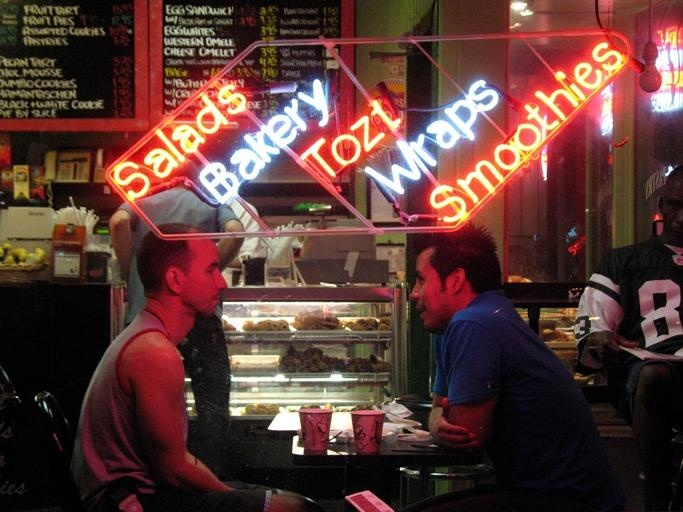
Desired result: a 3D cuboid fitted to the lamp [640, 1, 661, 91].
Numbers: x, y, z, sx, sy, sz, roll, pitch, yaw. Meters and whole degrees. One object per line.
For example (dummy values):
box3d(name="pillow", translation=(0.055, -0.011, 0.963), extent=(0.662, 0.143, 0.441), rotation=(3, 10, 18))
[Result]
box3d(name="lamp", translation=(1.259, -0.869, 3.066), extent=(0.083, 0.404, 0.218), rotation=(-3, -6, 24))

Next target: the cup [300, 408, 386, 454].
box3d(name="cup", translation=(-0.001, 0.626, 2.685), extent=(0.302, 0.155, 0.100), rotation=(-1, -5, -3))

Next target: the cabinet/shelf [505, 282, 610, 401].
box3d(name="cabinet/shelf", translation=(0.956, 0.367, 3.380), extent=(0.453, 0.423, 0.453), rotation=(0, -4, 2))

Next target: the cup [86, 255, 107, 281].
box3d(name="cup", translation=(-1.493, 0.073, 4.516), extent=(0.142, 0.201, 0.109), rotation=(2, 5, 4))
